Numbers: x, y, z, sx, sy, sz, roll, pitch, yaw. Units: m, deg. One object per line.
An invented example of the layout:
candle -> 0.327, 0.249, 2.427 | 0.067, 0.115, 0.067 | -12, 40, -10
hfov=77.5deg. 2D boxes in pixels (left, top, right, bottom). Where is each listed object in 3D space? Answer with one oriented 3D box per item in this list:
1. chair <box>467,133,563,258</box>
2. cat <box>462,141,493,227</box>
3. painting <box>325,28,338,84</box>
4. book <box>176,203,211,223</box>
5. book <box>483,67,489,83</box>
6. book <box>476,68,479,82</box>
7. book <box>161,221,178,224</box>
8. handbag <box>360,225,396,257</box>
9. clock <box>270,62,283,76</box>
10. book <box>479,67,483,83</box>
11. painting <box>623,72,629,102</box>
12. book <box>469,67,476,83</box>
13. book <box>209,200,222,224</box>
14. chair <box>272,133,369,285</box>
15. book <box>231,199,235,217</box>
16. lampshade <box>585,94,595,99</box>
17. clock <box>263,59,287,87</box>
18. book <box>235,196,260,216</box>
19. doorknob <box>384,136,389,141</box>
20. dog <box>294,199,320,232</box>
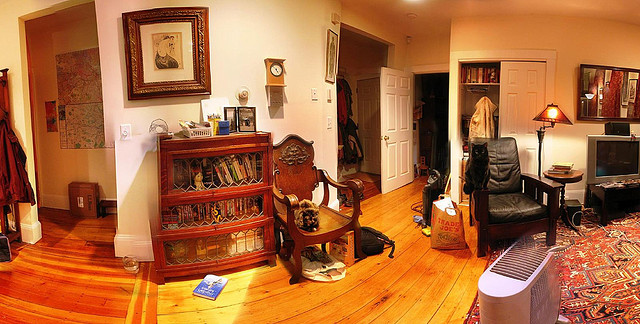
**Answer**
chair -> 3.367, 0.503, 7.180 | 1.827, 1.632, 1.809 | -12, 14, -23
cat -> 2.761, 0.314, 6.933 | 0.408, 1.191, 0.590 | 3, 11, 24
painting -> 0.211, -2.046, 7.844 | 0.092, 0.950, 0.604 | 5, 9, 13
book -> -2.074, 0.812, 6.446 | 0.370, 0.218, 0.018 | 0, 2, -14
book -> 3.526, -1.821, 8.431 | 0.118, 0.302, 0.059 | -1, 6, 7
book -> 3.355, -1.836, 8.447 | 0.050, 0.275, 0.031 | -2, 6, -4
book -> -2.415, 0.966, 6.404 | 0.229, 0.051, 0.028 | -3, 7, -14
handbag -> 0.978, 1.380, 7.005 | 0.594, 0.194, 0.580 | 22, 19, 20
clock -> -0.745, -1.617, 6.937 | 0.231, 0.202, 0.051 | -11, 15, -29
book -> 3.422, -1.821, 8.436 | 0.068, 0.302, 0.047 | -1, 6, 3
painting -> 6.484, -1.570, 8.434 | 0.152, 0.609, 0.029 | -5, 7, -27
book -> 3.252, -1.826, 8.457 | 0.124, 0.303, 0.051 | 0, 7, 15
book -> -1.699, 0.816, 6.490 | 0.195, 0.359, 0.073 | -3, 7, -14
chair -> 0.081, 0.671, 7.139 | 1.911, 2.369, 1.391 | -4, 7, -25
book -> -1.420, 0.746, 6.537 | 0.054, 0.279, 0.020 | -4, 7, -18
lampshade -> 5.584, -1.341, 8.230 | 0.199, 0.090, 0.038 | -3, 7, -14
clock -> -0.710, -1.571, 7.028 | 0.378, 0.428, 0.254 | 8, 18, 30
book -> -1.228, 0.724, 6.598 | 0.036, 0.395, 0.626 | 0, -1, 35
doorknob -> 1.493, -0.535, 8.923 | 0.085, 0.043, 0.114 | -1, 21, 14
dog -> -0.211, 0.851, 6.677 | 0.504, 0.467, 0.450 | -4, 2, 13
